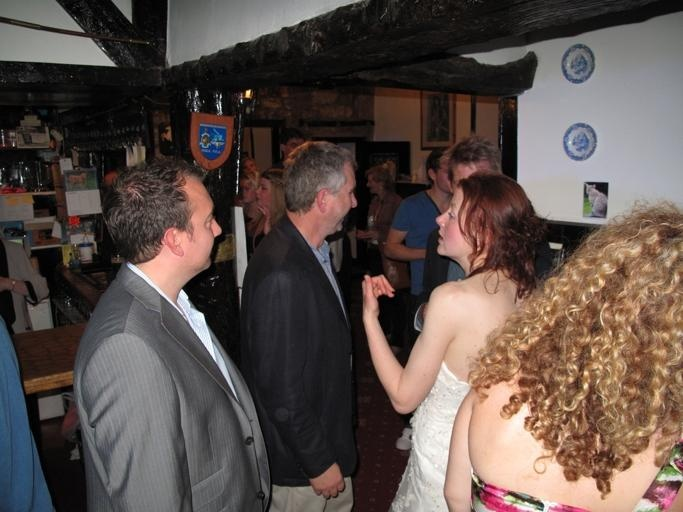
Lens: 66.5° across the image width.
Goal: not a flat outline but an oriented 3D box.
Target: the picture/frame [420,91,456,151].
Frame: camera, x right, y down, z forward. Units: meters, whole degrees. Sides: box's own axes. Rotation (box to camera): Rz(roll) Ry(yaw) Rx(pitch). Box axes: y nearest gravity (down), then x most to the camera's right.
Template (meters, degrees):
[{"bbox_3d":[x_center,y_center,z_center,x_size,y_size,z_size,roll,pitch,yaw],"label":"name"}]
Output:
[{"bbox_3d":[1.589,-2.226,8.515,0.547,1.127,0.088,4,43,14],"label":"picture/frame"}]

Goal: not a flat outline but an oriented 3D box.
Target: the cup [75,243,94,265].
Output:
[{"bbox_3d":[-2.661,-0.011,5.454,0.182,0.233,0.199,4,7,0],"label":"cup"}]
